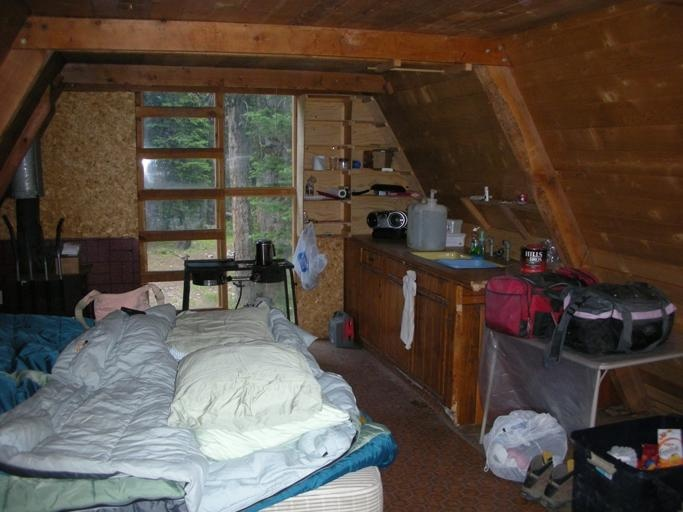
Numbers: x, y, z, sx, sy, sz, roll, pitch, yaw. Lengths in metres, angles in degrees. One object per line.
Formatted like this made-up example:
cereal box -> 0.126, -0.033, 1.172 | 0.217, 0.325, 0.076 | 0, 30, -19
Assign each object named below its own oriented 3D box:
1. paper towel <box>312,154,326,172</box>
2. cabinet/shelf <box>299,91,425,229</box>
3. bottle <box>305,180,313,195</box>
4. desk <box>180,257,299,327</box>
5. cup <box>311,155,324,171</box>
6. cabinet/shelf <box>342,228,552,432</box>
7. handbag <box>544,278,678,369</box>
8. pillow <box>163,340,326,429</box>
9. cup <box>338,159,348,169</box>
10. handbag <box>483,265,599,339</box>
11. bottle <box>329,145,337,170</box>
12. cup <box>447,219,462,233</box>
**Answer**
paper towel -> -0.221, -0.925, 5.419 | 0.160, 0.140, 0.156 | -3, 4, -45
cabinet/shelf -> 0.195, -0.992, 5.384 | 1.711, 1.515, 0.503 | -2, 2, -13
bottle -> -0.319, -0.691, 5.490 | 0.081, 0.155, 0.044 | -6, 6, -18
desk -> -0.827, 0.284, 4.601 | 0.785, 0.580, 0.294 | -3, 16, -15
cup -> -0.226, -0.919, 5.418 | 0.160, 0.132, 0.141 | -1, 4, -3
cabinet/shelf -> 0.812, 0.547, 4.008 | 0.462, 0.695, 1.587 | 1, 7, -12
handbag -> 1.466, 0.365, 3.018 | 0.637, 0.215, 0.427 | -6, 9, -1
pillow -> -0.421, 0.564, 2.420 | 0.496, 0.121, 0.403 | 0, 21, -11
cup -> 0.005, -0.925, 5.504 | 0.115, 0.103, 0.101 | -5, 19, -16
handbag -> 1.234, 0.258, 3.277 | 0.609, 0.173, 0.403 | -3, 4, -27
bottle -> -0.071, -0.975, 5.525 | 0.069, 0.205, 0.036 | -4, 6, 0
cup -> 1.024, -0.274, 5.023 | 0.138, 0.100, 0.134 | -1, 4, 0
